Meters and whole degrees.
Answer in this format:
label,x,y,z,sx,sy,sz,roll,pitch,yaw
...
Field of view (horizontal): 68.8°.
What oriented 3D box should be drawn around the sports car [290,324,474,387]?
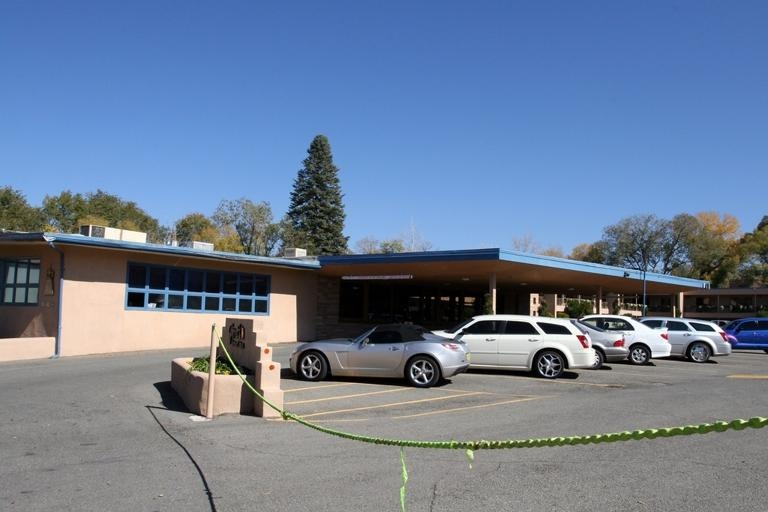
label,x,y,z,sx,sy,sz,roll,pitch,yaw
sports car,-0.030,2.781,15.993,3.948,1.215,2.015,1,-7,14
